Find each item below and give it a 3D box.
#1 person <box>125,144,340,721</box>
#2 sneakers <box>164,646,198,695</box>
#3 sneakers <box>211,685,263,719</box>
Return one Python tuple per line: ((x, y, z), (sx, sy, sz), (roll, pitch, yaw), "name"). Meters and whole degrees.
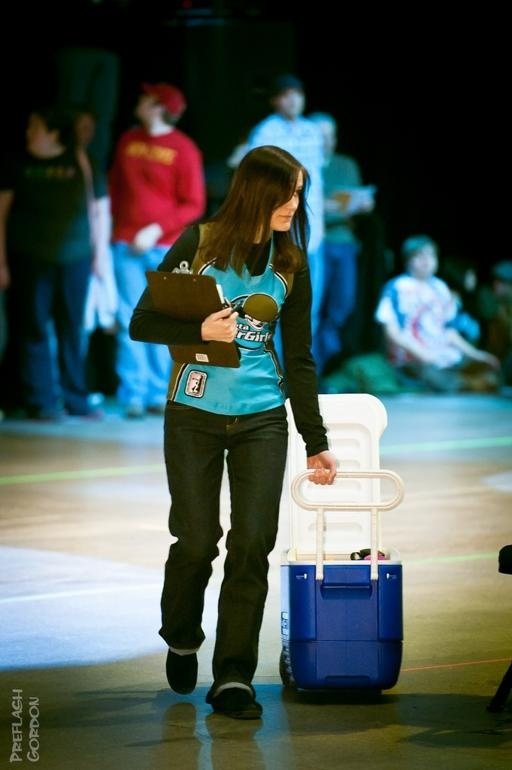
((0.010, 0.129, 2.557), (0.572, 1.588, 0.531), (-4, 9, -33), "person")
((-0.212, 0.823, 2.592), (0.085, 0.128, 0.073), (-2, 2, -10), "sneakers")
((-0.031, 0.829, 2.383), (0.153, 0.058, 0.060), (-1, 2, -29), "sneakers")
